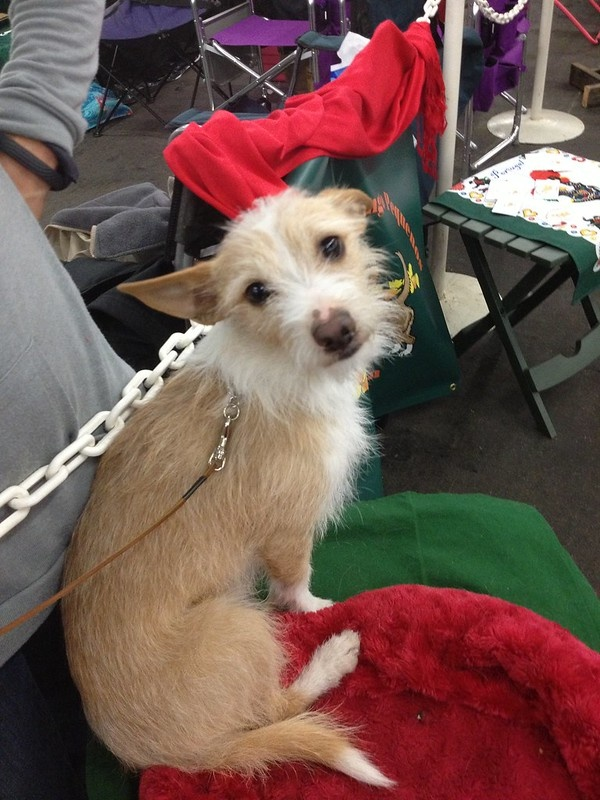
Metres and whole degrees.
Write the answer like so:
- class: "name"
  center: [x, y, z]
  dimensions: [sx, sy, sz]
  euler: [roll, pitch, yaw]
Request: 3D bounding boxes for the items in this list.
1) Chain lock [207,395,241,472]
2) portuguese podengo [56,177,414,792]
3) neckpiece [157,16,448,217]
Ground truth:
- class: "Chain lock"
  center: [-0.146, 0.064, 1.315]
  dimensions: [0.045, 0.020, 0.175]
  euler: [12, 63, 5]
- class: "portuguese podengo"
  center: [-0.103, 0.166, 1.413]
  dimensions: [0.759, 1.026, 0.765]
  euler: [7, 21, 19]
- class: "neckpiece"
  center: [0.038, -0.713, 1.789]
  dimensions: [0.815, 0.413, 0.217]
  euler: [-30, 53, -15]
